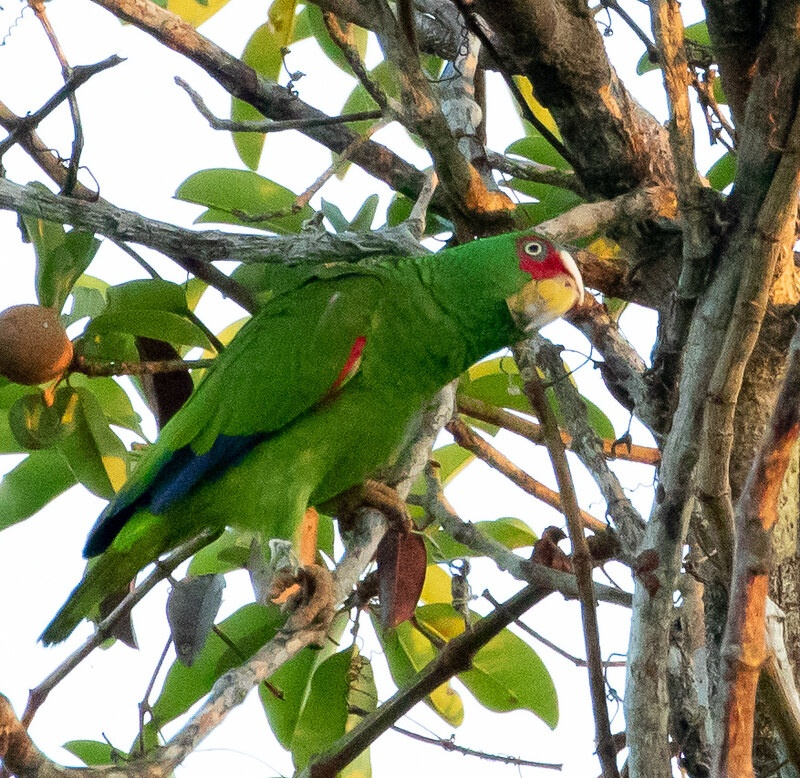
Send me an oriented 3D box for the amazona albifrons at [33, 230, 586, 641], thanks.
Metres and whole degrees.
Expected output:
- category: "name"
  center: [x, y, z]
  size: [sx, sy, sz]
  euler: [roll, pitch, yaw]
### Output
- category: "amazona albifrons"
  center: [-0.245, 0.076, 3.960]
  size: [1.413, 0.422, 0.566]
  euler: [-26, -95, 10]
